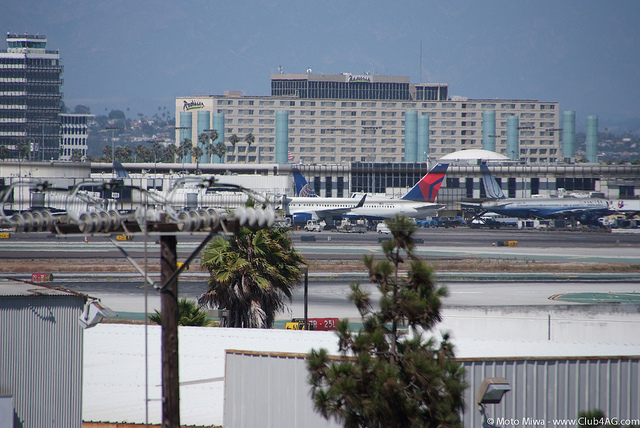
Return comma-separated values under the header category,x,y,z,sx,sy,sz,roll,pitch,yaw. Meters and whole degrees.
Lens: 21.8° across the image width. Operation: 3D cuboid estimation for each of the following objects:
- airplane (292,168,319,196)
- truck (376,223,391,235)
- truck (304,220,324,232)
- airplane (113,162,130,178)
category,x,y,z,sx,sy,sz,roll,pitch,yaw
airplane,-4.794,-7.528,412.752,5.166,0.487,12.420,-6,-34,12
truck,14.837,3.738,385.462,3.360,1.909,2.190,-1,3,9
truck,-1.656,2.935,390.954,3.733,1.945,2.337,-1,2,13
airplane,-48.805,-10.862,407.362,3.495,4.769,16.357,0,-4,-7
